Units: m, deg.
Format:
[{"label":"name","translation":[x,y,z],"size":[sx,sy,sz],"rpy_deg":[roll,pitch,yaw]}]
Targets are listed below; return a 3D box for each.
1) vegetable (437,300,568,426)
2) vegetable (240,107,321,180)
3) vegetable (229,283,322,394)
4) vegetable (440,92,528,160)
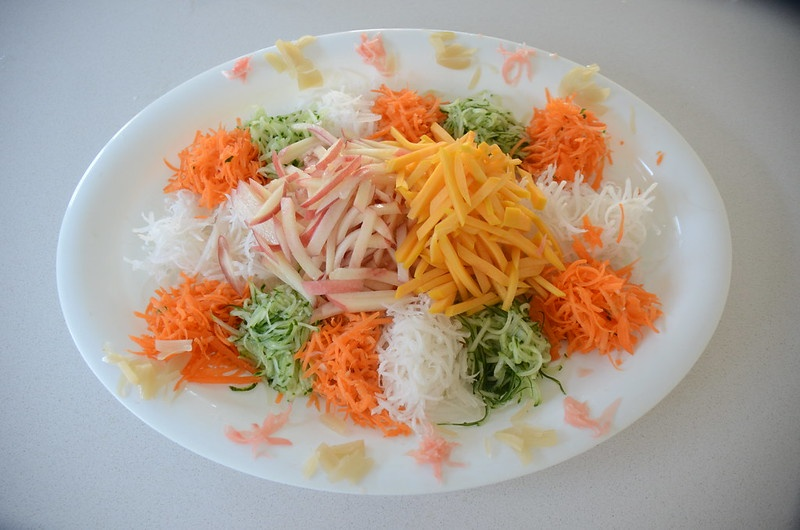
[{"label":"vegetable","translation":[0.399,0.388,2.567],"size":[0.513,0.130,0.431],"rpy_deg":[-16,85,-2]},{"label":"vegetable","translation":[-0.530,-0.536,2.939],"size":[0.326,0.167,0.342],"rpy_deg":[10,53,10]},{"label":"vegetable","translation":[-0.525,0.336,2.585],"size":[0.390,0.181,0.435],"rpy_deg":[19,58,-19]},{"label":"vegetable","translation":[0.395,-0.655,2.917],"size":[0.309,0.115,0.320],"rpy_deg":[3,51,-11]}]
